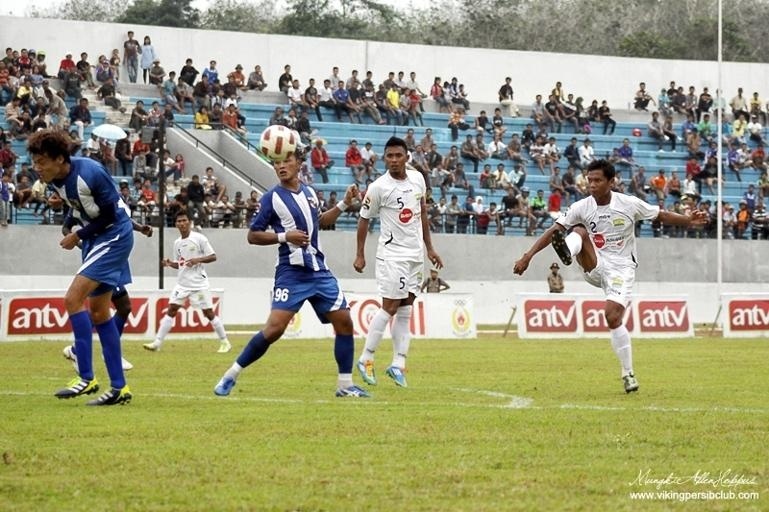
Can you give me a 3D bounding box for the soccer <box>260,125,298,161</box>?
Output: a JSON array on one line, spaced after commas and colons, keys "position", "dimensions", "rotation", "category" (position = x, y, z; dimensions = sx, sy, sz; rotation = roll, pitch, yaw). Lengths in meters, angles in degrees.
[{"position": [-2.545, -2.798, 35.110], "dimensions": [0.899, 0.846, 0.871], "rotation": [2, 1, -2], "category": "soccer"}]
